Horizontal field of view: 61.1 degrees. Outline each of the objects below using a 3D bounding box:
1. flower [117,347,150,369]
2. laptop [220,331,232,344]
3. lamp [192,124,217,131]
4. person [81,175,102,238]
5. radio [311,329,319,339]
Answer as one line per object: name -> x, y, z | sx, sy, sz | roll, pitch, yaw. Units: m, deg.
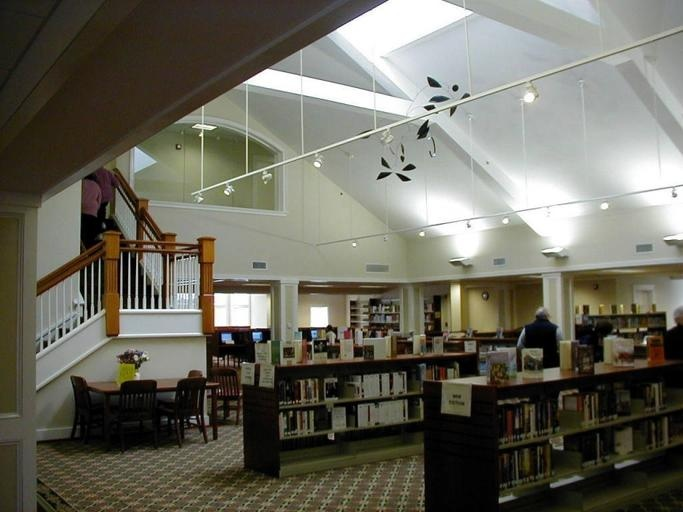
flower -> -3.078, 1.505, 8.678 | 0.357, 0.389, 0.382 | 2, -8, 6
laptop -> -3.548, 2.503, 17.902 | 0.374, 0.398, 0.260 | 4, -10, -35
lamp -> -3.762, -3.516, 15.844 | 0.423, 0.104, 0.391 | 2, -5, -38
person -> -4.862, -0.965, 11.257 | 0.369, 0.867, 1.137 | -2, -1, -24
radio -> -0.794, 2.343, 17.505 | 0.194, 0.290, 0.285 | 0, -2, -21
